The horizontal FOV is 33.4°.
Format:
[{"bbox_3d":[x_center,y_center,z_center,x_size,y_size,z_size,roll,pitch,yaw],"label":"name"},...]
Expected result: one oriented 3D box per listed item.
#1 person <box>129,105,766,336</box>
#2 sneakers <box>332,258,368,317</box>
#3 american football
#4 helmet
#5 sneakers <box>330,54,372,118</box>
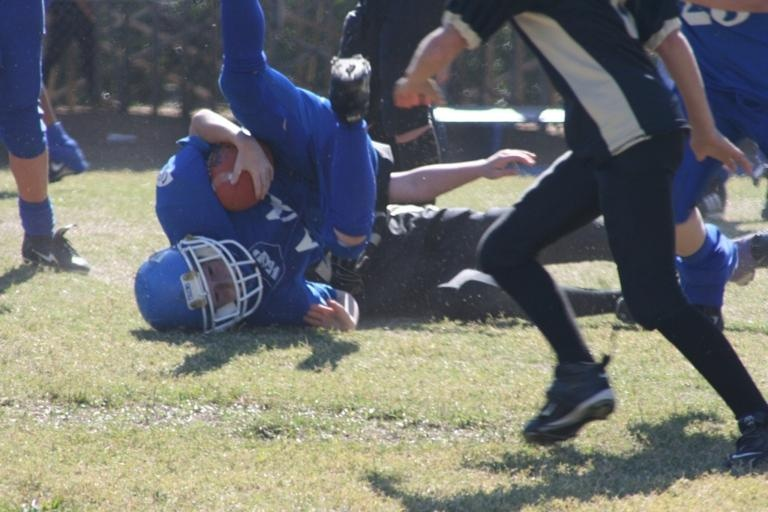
[{"bbox_3d":[-0.057,-0.028,6.389,2.266,0.818,1.414,-5,-22,-11],"label":"person"},{"bbox_3d":[-0.173,0.160,6.510,0.221,0.260,0.103,0,8,17],"label":"sneakers"},{"bbox_3d":[-0.720,-0.367,6.091,0.267,0.315,0.145,9,16,8],"label":"american football"},{"bbox_3d":[-0.833,0.169,6.083,0.574,0.395,0.430,-14,-5,-6],"label":"helmet"},{"bbox_3d":[-0.159,-0.748,5.795,0.181,0.306,0.219,6,16,-3],"label":"sneakers"}]
